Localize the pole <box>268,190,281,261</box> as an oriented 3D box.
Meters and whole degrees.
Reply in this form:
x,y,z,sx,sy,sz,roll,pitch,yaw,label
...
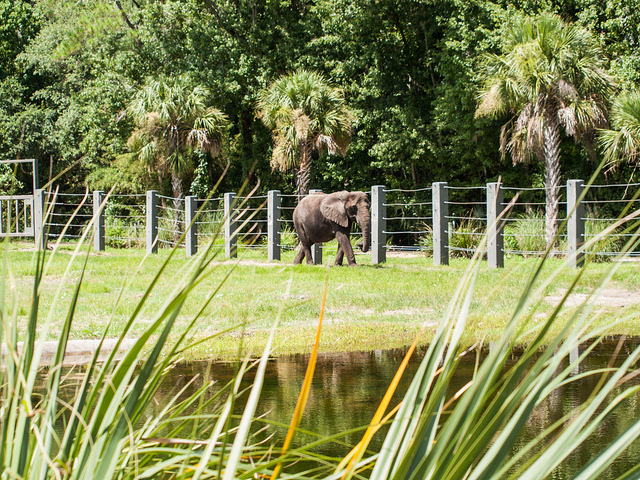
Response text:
x,y,z,sx,sy,sz,roll,pitch,yaw,label
-1.224,-0.417,31.819,0.364,1.882,0.744,2,2,-3,pole

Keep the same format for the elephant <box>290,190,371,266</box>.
x,y,z,sx,sy,sz,roll,pitch,yaw,label
0.337,-0.308,30.077,2.213,1.974,0.767,5,4,42,elephant

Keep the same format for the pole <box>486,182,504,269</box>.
x,y,z,sx,sy,sz,roll,pitch,yaw,label
3.914,-0.279,25.714,0.332,2.176,0.372,1,7,-16,pole

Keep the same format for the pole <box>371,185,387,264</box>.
x,y,z,sx,sy,sz,roll,pitch,yaw,label
1.595,-0.427,30.779,0.424,2.023,0.769,3,2,2,pole

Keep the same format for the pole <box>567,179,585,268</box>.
x,y,z,sx,sy,sz,roll,pitch,yaw,label
6.386,-0.225,29.101,0.287,2.526,0.290,0,2,35,pole
